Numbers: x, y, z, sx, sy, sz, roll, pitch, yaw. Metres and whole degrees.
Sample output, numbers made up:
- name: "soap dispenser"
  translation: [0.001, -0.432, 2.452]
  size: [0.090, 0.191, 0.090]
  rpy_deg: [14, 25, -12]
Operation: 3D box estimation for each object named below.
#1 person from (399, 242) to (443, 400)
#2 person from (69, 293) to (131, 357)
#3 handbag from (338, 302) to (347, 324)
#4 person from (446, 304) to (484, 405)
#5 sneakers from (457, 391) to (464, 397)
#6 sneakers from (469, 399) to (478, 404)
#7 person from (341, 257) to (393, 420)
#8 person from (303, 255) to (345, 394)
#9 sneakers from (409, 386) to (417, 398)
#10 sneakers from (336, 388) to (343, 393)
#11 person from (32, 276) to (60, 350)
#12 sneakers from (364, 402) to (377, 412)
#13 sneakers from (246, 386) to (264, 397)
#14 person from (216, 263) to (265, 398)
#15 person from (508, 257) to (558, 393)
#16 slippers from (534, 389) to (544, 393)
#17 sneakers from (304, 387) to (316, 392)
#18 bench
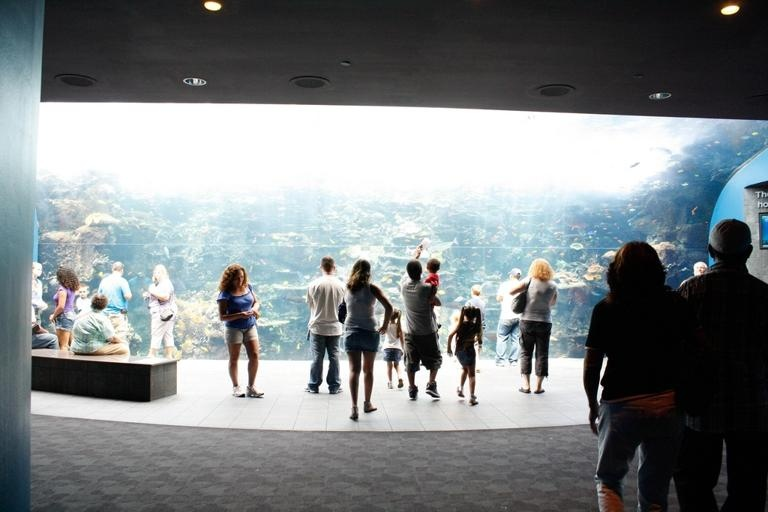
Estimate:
- name: "person"
  translation: [0.521, 1.098, 8.145]
  size: [0.606, 2.115, 0.663]
  rpy_deg: [1, 1, 3]
- name: "person"
  translation: [-4.446, 1.074, 8.593]
  size: [0.898, 0.849, 0.685]
  rpy_deg: [9, 3, 4]
- name: "handbag"
  translation: [-0.588, 0.781, 7.626]
  size: [0.112, 0.232, 0.188]
  rpy_deg: [3, -13, -13]
- name: "person"
  translation: [1.224, 1.453, 8.413]
  size: [0.489, 1.436, 0.907]
  rpy_deg: [1, 1, 9]
- name: "sneakers"
  translation: [1.157, 2.099, 8.455]
  size: [0.053, 0.064, 0.162]
  rpy_deg: [-14, -50, 25]
- name: "sneakers"
  translation: [1.286, 2.100, 8.019]
  size: [0.119, 0.083, 0.116]
  rpy_deg: [1, 1, 7]
- name: "person"
  translation: [-0.243, 1.086, 7.415]
  size: [0.615, 2.089, 0.607]
  rpy_deg: [1, 1, -4]
- name: "person"
  translation: [-0.959, 1.081, 8.626]
  size: [0.631, 2.126, 0.427]
  rpy_deg: [1, 1, 10]
- name: "sneakers"
  translation: [0.420, 2.028, 8.271]
  size: [0.153, 0.149, 0.381]
  rpy_deg: [1, -16, 2]
- name: "sneakers"
  translation: [-0.724, 2.094, 8.650]
  size: [0.075, 0.073, 0.193]
  rpy_deg: [0, -9, -1]
- name: "person"
  translation: [-6.080, 1.011, 9.911]
  size: [0.379, 1.287, 1.670]
  rpy_deg: [0, 1, -31]
- name: "sneakers"
  translation: [-0.202, 2.065, 7.602]
  size: [0.097, 0.084, 0.227]
  rpy_deg: [1, 1, 13]
- name: "sneakers"
  translation: [-2.040, 2.051, 8.410]
  size: [0.353, 0.129, 0.115]
  rpy_deg: [1, -2, 15]
- name: "person"
  translation: [-2.195, 1.126, 8.426]
  size: [0.679, 2.019, 0.710]
  rpy_deg: [0, 1, -13]
- name: "person"
  translation: [2.413, 1.121, 8.948]
  size: [0.630, 2.156, 0.711]
  rpy_deg: [1, 1, 14]
- name: "slippers"
  translation: [2.473, 2.147, 8.813]
  size: [0.179, 0.056, 0.056]
  rpy_deg: [-1, 2, -28]
- name: "sneakers"
  translation: [-1.183, 2.124, 8.750]
  size: [0.076, 0.077, 0.209]
  rpy_deg: [4, 1, -34]
- name: "bench"
  translation: [-4.248, 1.794, 8.300]
  size: [2.005, 0.573, 0.518]
  rpy_deg: [1, 1, 14]
